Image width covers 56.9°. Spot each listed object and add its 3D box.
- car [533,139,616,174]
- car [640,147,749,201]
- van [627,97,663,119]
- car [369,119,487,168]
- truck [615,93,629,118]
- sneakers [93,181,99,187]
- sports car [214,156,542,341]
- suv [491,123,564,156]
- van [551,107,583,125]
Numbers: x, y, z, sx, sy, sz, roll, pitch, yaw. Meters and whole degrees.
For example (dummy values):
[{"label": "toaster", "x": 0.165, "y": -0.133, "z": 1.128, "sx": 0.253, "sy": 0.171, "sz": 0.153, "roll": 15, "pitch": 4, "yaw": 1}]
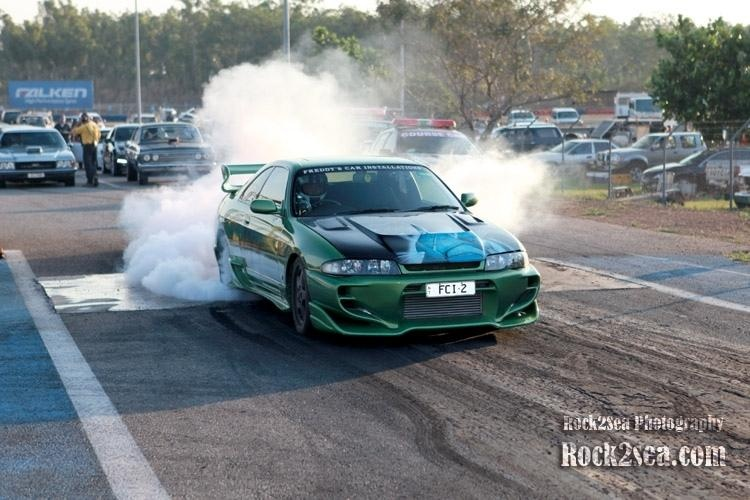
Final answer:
[{"label": "car", "x": 8.208, "y": -3.971, "z": 28.460, "sx": 3.916, "sy": 1.273, "sz": 1.669, "roll": -2, "pitch": 8, "yaw": -26}, {"label": "car", "x": 10.437, "y": -2.409, "z": 22.099, "sx": 3.993, "sy": 1.293, "sz": 1.633, "roll": 0, "pitch": 4, "yaw": 4}, {"label": "van", "x": 19.771, "y": -10.516, "z": 50.668, "sx": 2.130, "sy": 1.553, "sz": 2.629, "roll": 0, "pitch": 11, "yaw": 3}, {"label": "car", "x": 1.146, "y": -3.080, "z": 18.059, "sx": 1.803, "sy": 1.297, "sz": 2.903, "roll": -1, "pitch": 3, "yaw": -23}, {"label": "truck", "x": 18.820, "y": -11.039, "z": 52.609, "sx": 1.058, "sy": 1.621, "sz": 3.579, "roll": 4, "pitch": 12, "yaw": 18}, {"label": "sneakers", "x": -9.774, "y": -2.299, "z": 24.131, "sx": 0.177, "sy": 0.140, "sz": 0.203, "roll": 0, "pitch": 5, "yaw": -2}, {"label": "sports car", "x": -0.122, "y": -0.103, "z": 7.807, "sx": 2.051, "sy": 1.760, "sz": 3.528, "roll": -10, "pitch": 15, "yaw": -40}, {"label": "suv", "x": 7.008, "y": -4.944, "z": 32.858, "sx": 1.973, "sy": 1.323, "sz": 3.031, "roll": -5, "pitch": 18, "yaw": -19}, {"label": "van", "x": 15.073, "y": -10.614, "z": 54.949, "sx": 2.003, "sy": 1.262, "sz": 3.950, "roll": 3, "pitch": 11, "yaw": 13}]
